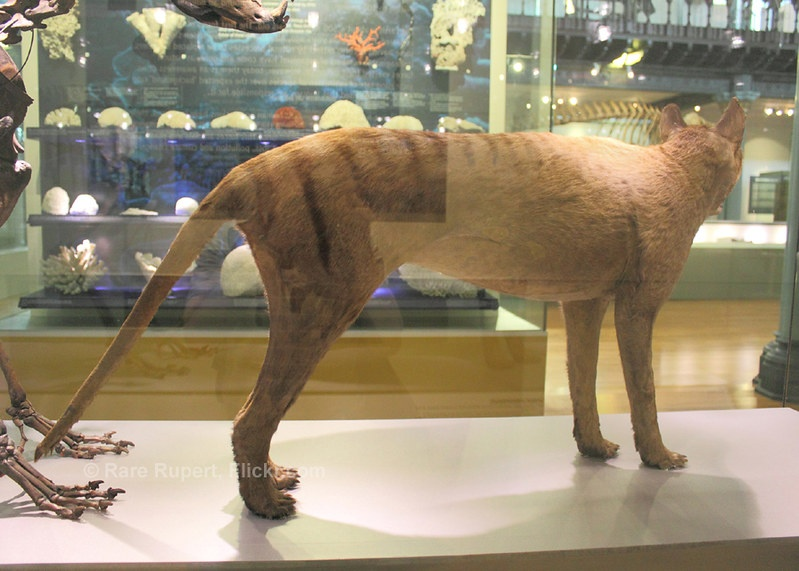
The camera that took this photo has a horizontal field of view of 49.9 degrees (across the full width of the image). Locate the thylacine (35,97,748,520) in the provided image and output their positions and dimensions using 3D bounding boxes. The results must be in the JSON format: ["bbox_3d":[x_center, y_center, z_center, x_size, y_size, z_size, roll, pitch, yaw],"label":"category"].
[{"bbox_3d":[0.174,0.011,2.293,2.036,0.966,0.441,-2,8,-25],"label":"thylacine"}]
